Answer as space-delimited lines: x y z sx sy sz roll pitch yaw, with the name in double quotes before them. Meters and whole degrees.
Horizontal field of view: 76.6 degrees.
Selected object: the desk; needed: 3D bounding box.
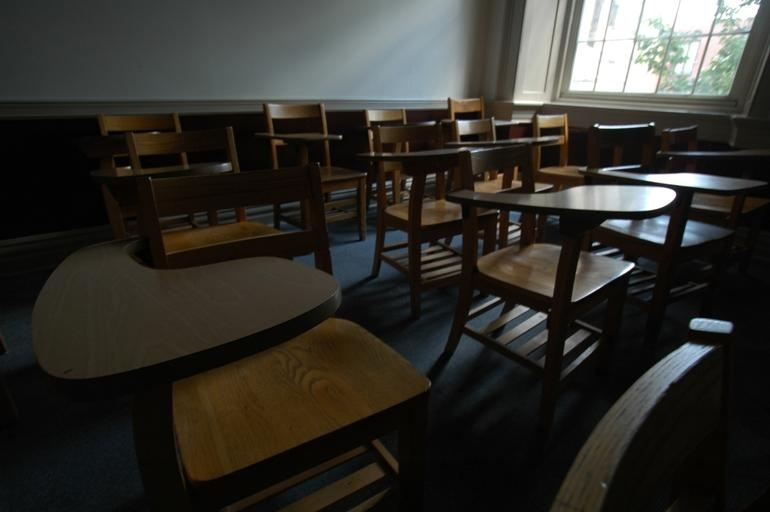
"desk" -0.648 0.167 1.630 0.983 0.295 0.457 -4 22 -2
